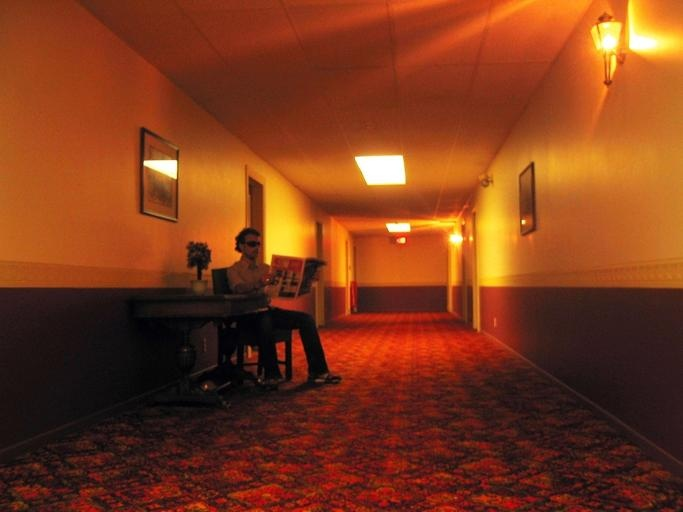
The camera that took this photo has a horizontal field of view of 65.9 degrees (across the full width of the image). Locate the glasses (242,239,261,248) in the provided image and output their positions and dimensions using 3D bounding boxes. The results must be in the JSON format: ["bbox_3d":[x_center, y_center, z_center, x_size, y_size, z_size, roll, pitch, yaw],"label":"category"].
[{"bbox_3d":[-0.944,-0.132,5.602,0.177,0.079,0.128,-1,2,-26],"label":"glasses"}]

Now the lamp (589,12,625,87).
[{"bbox_3d":[2.007,-1.566,3.936,0.218,0.555,0.336,1,2,39],"label":"lamp"}]

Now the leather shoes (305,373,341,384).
[{"bbox_3d":[-0.194,1.329,5.738,0.367,0.142,0.140,-3,-6,6],"label":"leather shoes"}]

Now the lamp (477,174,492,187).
[{"bbox_3d":[2.556,-1.342,9.358,0.254,0.246,0.193,-3,2,-23],"label":"lamp"}]

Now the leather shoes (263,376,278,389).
[{"bbox_3d":[-0.714,1.285,5.364,0.078,0.089,0.220,-1,-15,2],"label":"leather shoes"}]

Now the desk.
[{"bbox_3d":[-1.340,0.843,5.111,0.959,1.016,0.946,0,2,12],"label":"desk"}]

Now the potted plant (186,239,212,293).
[{"bbox_3d":[-1.514,0.090,5.587,0.245,0.498,1.183,-1,2,-16],"label":"potted plant"}]
